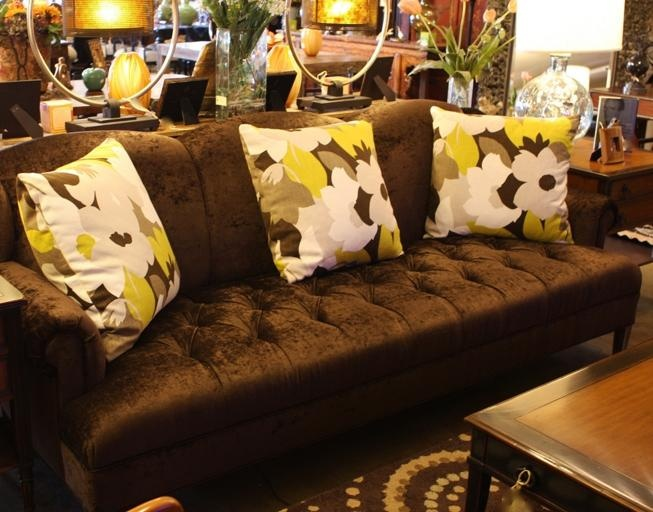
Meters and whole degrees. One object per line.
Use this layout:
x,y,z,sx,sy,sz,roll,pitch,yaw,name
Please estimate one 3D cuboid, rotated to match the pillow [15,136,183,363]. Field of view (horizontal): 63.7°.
-0.672,-0.010,1.525,0.309,0.488,0.570,7,20,10,pillow
